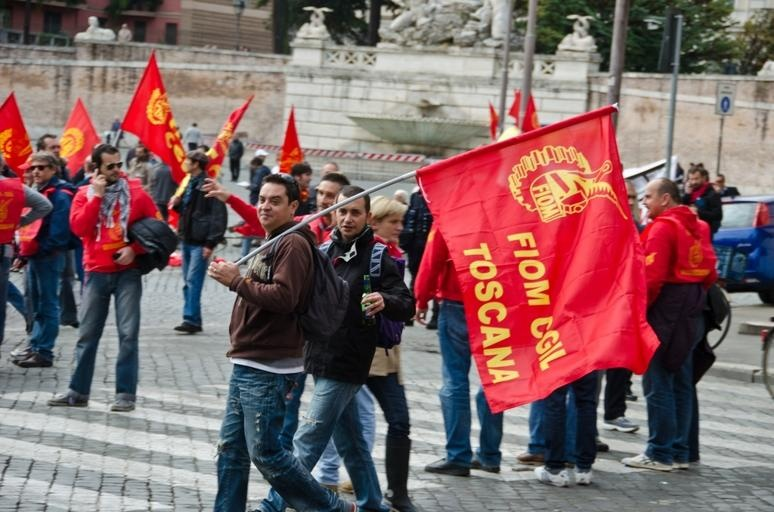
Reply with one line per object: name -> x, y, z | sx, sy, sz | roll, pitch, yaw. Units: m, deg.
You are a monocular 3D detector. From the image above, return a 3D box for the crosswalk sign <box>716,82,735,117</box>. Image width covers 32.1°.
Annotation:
crosswalk sign -> 6.916, -3.225, 27.598 | 0.350, 0.610, 1.045 | 6, 9, 12

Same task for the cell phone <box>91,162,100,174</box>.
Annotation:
cell phone -> -3.737, -1.107, 17.060 | 0.149, 0.125, 0.167 | -4, 1, -3

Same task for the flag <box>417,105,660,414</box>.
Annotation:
flag -> 1.700, -0.005, 14.620 | 2.417, 3.285, 0.993 | 4, 10, 1

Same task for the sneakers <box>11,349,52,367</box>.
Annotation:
sneakers -> -4.824, 1.400, 18.149 | 0.701, 0.206, 0.183 | 9, 2, -2

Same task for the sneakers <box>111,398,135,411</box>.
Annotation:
sneakers -> -3.276, 1.881, 16.755 | 0.316, 0.102, 0.128 | 5, -4, -13

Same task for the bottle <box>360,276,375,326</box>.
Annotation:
bottle -> -0.208, 0.472, 14.635 | 0.174, 0.526, 0.349 | 4, 9, -1

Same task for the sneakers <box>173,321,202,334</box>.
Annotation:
sneakers -> -2.991, 1.090, 20.315 | 0.462, 0.156, 0.145 | 6, 7, -9

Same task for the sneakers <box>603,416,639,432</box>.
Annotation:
sneakers -> 2.985, 2.185, 17.254 | 0.520, 0.162, 0.171 | 0, -2, 16
